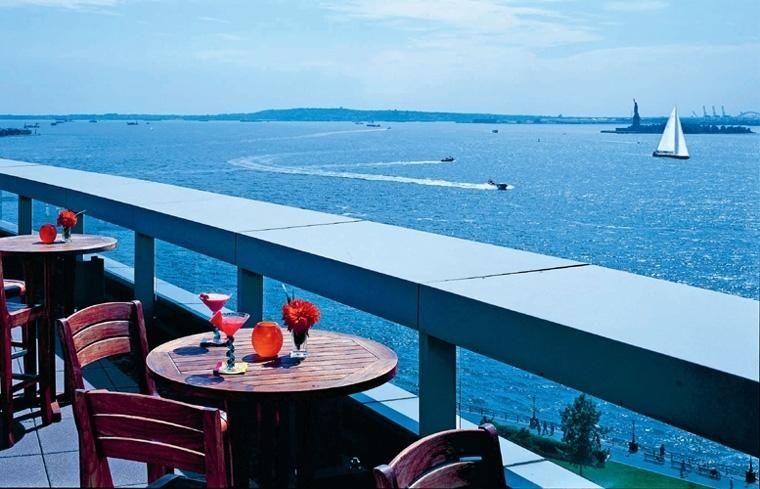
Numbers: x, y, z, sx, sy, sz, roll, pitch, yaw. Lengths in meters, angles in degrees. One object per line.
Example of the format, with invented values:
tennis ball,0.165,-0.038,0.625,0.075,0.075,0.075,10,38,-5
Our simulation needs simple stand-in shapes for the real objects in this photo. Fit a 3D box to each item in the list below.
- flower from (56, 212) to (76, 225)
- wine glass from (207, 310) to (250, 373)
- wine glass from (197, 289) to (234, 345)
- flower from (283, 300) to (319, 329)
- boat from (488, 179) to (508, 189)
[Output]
flower,-2.200,-0.200,4.973,0.107,0.103,0.106,9,16,12
wine glass,-0.651,0.428,3.119,0.216,0.236,0.219,2,1,10
wine glass,-0.748,0.339,3.321,0.214,0.231,0.214,2,4,9
flower,-0.353,0.307,3.145,0.140,0.061,0.136,-3,21,-12
boat,8.936,-4.466,53.152,1.377,0.562,0.760,17,23,36
